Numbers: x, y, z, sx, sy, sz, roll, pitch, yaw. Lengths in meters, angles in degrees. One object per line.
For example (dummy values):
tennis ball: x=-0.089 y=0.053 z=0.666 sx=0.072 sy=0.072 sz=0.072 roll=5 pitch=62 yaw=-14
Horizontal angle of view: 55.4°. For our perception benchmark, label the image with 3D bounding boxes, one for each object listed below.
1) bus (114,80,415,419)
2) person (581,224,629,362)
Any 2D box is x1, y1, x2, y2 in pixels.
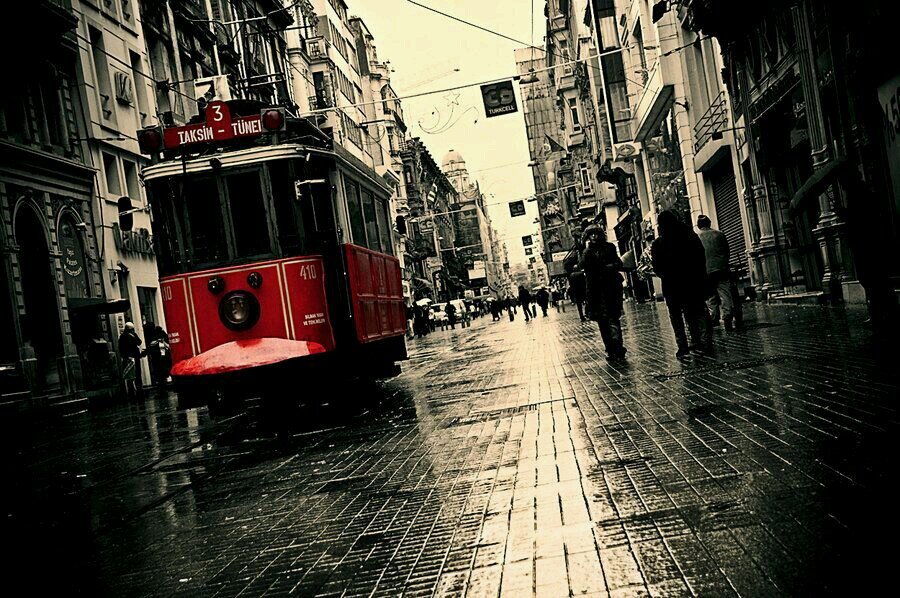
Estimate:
bus: x=-2.794 y=-0.930 z=14.651 sx=2.390 sy=4.744 sz=4.588 roll=-6 pitch=4 yaw=29
person: x=2.870 y=-0.130 z=15.892 sx=0.728 sy=1.804 sz=0.906 roll=-7 pitch=3 yaw=10
